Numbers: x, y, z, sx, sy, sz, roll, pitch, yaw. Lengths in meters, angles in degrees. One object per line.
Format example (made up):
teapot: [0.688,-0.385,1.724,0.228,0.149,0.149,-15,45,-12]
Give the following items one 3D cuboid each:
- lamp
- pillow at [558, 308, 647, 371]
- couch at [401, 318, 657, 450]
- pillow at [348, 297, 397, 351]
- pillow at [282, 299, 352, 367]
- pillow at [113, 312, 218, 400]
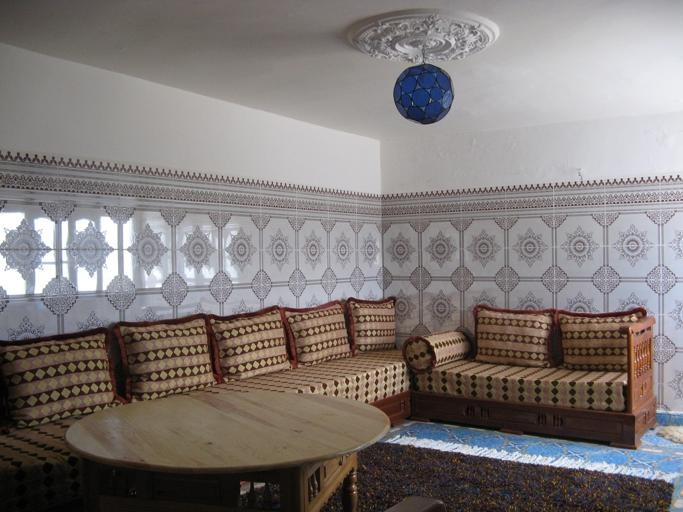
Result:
lamp: [0.582,-1.465,3.758,0.726,0.534,0.748,8,-16,-32]
pillow: [2.710,0.883,5.408,0.797,0.707,0.302,-3,9,27]
couch: [2.026,1.150,5.450,2.312,1.201,1.072,0,1,27]
pillow: [0.422,0.861,6.368,0.802,0.770,0.289,5,-11,-37]
pillow: [-0.224,0.895,5.774,0.813,0.721,0.293,-4,-4,-43]
pillow: [-1.466,0.935,4.561,0.389,0.735,0.881,-3,-2,41]
